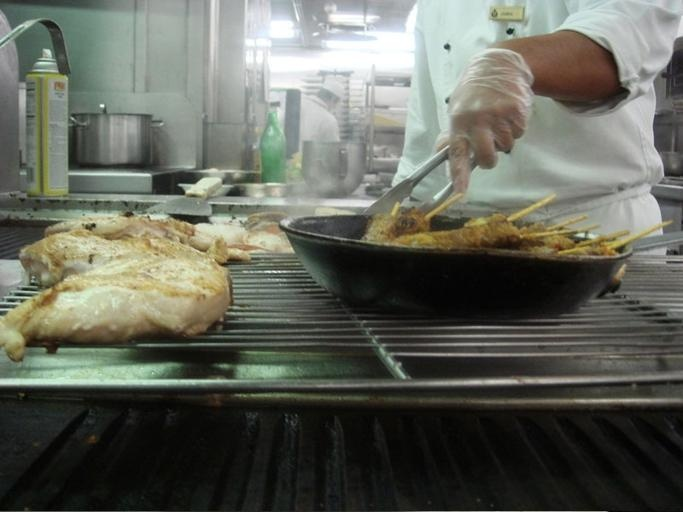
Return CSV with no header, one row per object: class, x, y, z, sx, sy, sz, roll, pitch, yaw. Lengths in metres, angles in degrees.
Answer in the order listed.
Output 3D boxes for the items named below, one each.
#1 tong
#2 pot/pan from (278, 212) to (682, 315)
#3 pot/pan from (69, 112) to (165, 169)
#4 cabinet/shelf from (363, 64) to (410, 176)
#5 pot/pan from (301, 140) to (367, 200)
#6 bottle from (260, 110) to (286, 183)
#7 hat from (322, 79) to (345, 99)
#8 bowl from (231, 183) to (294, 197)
tong,0.190,-0.195,1.422,0.239,0.166,0.125,-7,15,-29
pot/pan,0.169,0.017,1.041,0.647,0.136,0.328,7,14,26
pot/pan,-1.353,-0.681,3.297,0.559,0.264,0.355,-2,7,-15
cabinet/shelf,0.555,-1.296,6.106,0.481,0.779,0.824,3,0,-1
pot/pan,-0.040,-0.524,3.276,0.291,0.315,0.464,5,14,20
bottle,-0.445,-0.709,3.568,0.164,0.470,0.354,-2,14,-8
hat,-0.075,-1.720,5.602,0.201,0.107,0.280,29,7,31
bowl,-0.406,-0.366,3.024,0.243,0.067,0.282,12,17,41
